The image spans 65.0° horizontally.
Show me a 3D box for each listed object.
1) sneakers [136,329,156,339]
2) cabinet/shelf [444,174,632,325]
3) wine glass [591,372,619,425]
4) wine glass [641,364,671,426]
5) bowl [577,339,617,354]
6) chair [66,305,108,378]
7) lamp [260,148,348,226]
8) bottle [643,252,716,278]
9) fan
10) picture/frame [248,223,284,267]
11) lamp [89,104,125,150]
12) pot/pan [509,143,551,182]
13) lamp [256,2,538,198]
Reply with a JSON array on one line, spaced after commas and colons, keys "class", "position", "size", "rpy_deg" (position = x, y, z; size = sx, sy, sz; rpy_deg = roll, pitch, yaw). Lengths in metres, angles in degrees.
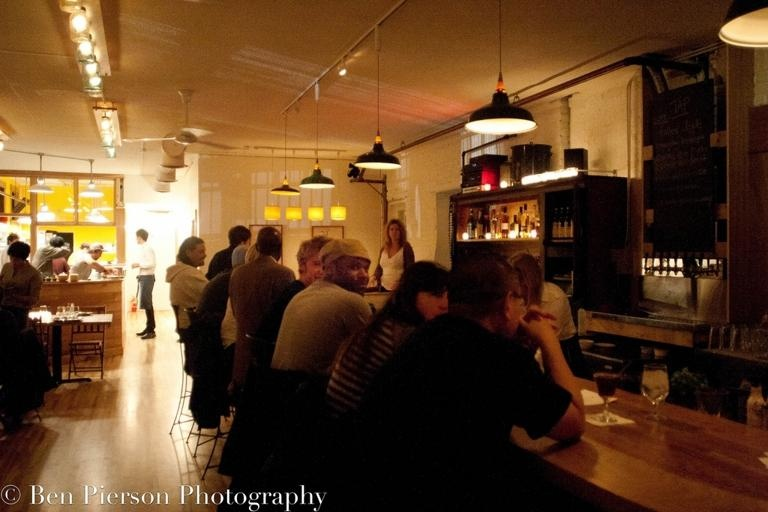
[{"class": "sneakers", "position": [-4.362, 1.407, 10.990], "size": [0.310, 0.124, 0.196], "rpy_deg": [4, -4, 1]}, {"class": "cabinet/shelf", "position": [1.831, 0.034, 7.950], "size": [0.848, 1.825, 2.160], "rpy_deg": [6, -6, -43]}, {"class": "wine glass", "position": [1.472, 0.906, 3.993], "size": [0.152, 0.291, 0.331], "rpy_deg": [3, 7, 21]}, {"class": "wine glass", "position": [1.797, 0.874, 3.993], "size": [0.156, 0.354, 0.279], "rpy_deg": [4, 7, 26]}, {"class": "bowl", "position": [2.390, 1.013, 6.746], "size": [0.272, 0.077, 0.282], "rpy_deg": [-1, -3, 0]}, {"class": "chair", "position": [-4.491, 1.233, 9.062], "size": [0.625, 0.899, 0.771], "rpy_deg": [-2, -3, -5]}, {"class": "lamp", "position": [-1.572, -1.170, 10.817], "size": [1.218, 0.888, 1.461], "rpy_deg": [6, 19, 25]}, {"class": "bottle", "position": [3.282, 0.101, 6.730], "size": [0.204, 0.333, 0.894], "rpy_deg": [-3, 8, -33]}, {"class": "fan", "position": [-2.831, -2.015, 8.629], "size": [1.450, 0.709, 1.482], "rpy_deg": [-2, 12, -25]}, {"class": "picture/frame", "position": [-1.124, -0.036, 5.729], "size": [0.389, 0.467, 0.418], "rpy_deg": [0, -13, 4]}, {"class": "lamp", "position": [-3.980, -1.911, 8.671], "size": [0.151, 0.526, 0.208], "rpy_deg": [18, 3, 15]}, {"class": "pot/pan", "position": [1.912, -1.209, 8.081], "size": [0.518, 0.488, 0.509], "rpy_deg": [1, -3, -23]}, {"class": "lamp", "position": [0.174, -1.745, 7.214], "size": [1.916, 1.807, 4.606], "rpy_deg": [-1, 7, -16]}]
